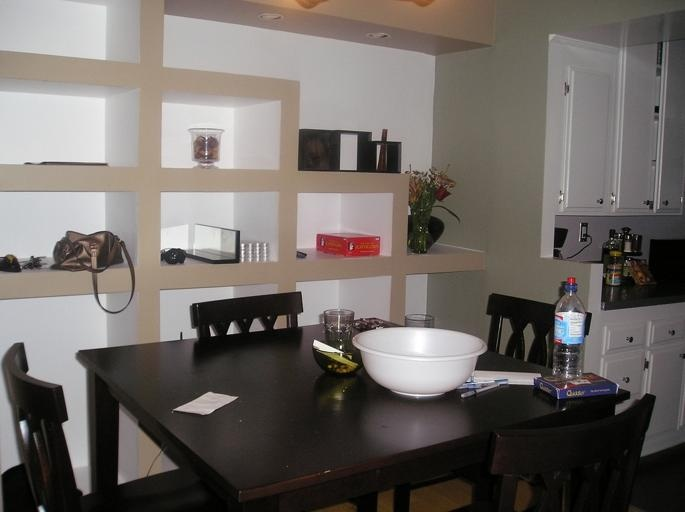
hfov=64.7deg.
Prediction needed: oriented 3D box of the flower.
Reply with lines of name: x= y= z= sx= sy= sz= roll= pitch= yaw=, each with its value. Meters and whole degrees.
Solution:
flower: x=0.567 y=-0.328 z=3.655 sx=0.387 sy=0.545 sz=0.361 roll=-2 pitch=15 yaw=-33

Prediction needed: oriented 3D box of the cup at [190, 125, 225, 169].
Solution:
cup: x=-0.750 y=-0.600 z=3.073 sx=0.207 sy=0.239 sz=0.212 roll=0 pitch=2 yaw=0

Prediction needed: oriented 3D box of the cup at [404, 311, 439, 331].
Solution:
cup: x=0.337 y=0.265 z=2.305 sx=0.137 sy=0.114 sz=0.145 roll=0 pitch=0 yaw=0

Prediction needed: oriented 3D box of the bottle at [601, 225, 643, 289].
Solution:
bottle: x=1.945 y=-0.002 z=3.802 sx=0.243 sy=0.359 sz=0.532 roll=6 pitch=11 yaw=28

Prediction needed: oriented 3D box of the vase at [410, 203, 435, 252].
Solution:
vase: x=0.514 y=-0.173 z=3.632 sx=0.154 sy=0.304 sz=0.141 roll=1 pitch=10 yaw=2

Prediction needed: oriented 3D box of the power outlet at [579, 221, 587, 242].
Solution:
power outlet: x=1.866 y=-0.185 z=4.202 sx=0.116 sy=0.153 sz=0.024 roll=-8 pitch=13 yaw=-41

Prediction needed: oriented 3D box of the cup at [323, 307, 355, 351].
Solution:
cup: x=-0.014 y=0.285 z=2.164 sx=0.123 sy=0.144 sz=0.123 roll=2 pitch=3 yaw=0

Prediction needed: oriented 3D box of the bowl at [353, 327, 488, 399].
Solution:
bowl: x=0.257 y=0.362 z=1.893 sx=0.283 sy=0.109 sz=0.280 roll=0 pitch=1 yaw=0
